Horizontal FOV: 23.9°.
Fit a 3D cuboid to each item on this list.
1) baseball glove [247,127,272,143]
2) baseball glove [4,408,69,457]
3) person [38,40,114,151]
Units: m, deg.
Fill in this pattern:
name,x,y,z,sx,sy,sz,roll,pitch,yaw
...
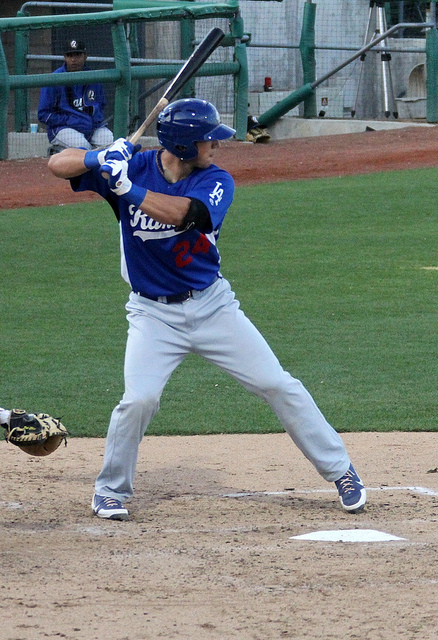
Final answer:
name,x,y,z,sx,sy,sz,roll,pitch,yaw
baseball glove,0.532,-2.613,14.626,0.222,0.149,0.304,1,0,-6
baseball glove,-0.682,0.416,3.816,0.099,0.158,0.207,-20,-44,42
person,-1.419,-2.287,10.578,0.862,1.054,0.763,-2,21,-13
